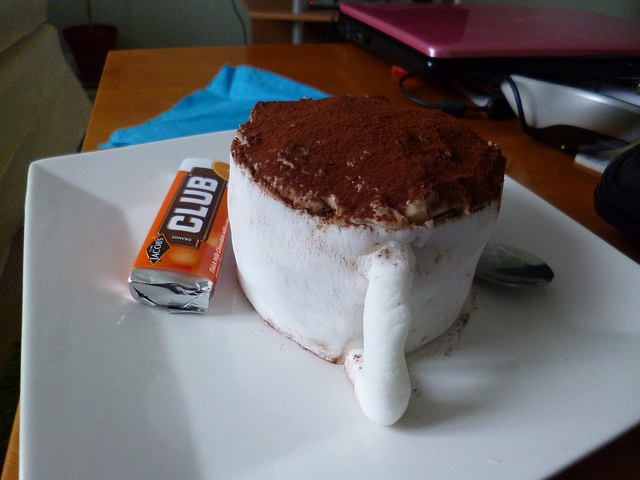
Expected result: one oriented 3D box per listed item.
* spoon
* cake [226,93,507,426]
[{"bbox_3d":[0.291,0.039,0.857,0.161,0.028,0.049,5,58,25],"label":"spoon"},{"bbox_3d":[0.041,-0.033,0.796,0.323,0.246,0.435,1,40,-6],"label":"cake"}]
